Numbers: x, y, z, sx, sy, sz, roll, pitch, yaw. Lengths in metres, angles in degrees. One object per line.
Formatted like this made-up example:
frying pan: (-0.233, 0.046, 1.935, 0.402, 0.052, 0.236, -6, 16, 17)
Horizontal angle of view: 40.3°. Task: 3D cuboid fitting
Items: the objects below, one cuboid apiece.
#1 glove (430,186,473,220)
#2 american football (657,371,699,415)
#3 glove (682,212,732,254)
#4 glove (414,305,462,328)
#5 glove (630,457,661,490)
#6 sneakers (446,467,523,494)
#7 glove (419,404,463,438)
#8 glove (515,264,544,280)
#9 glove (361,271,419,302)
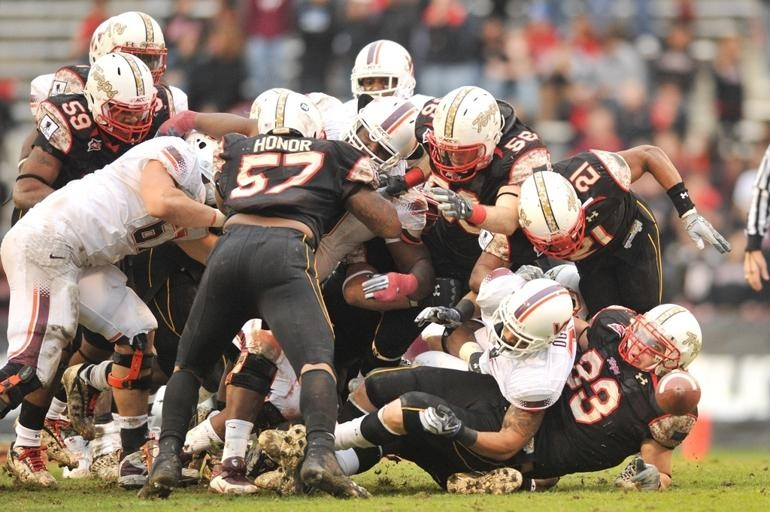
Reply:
glove: (0.589, -0.466, 9.653, 0.288, 0.265, 0.422, 2, 12, -24)
american football: (2.432, 1.137, 8.819, 0.363, 0.401, 0.358, 1, 0, 8)
glove: (3.830, -0.245, 12.555, 0.478, 0.159, 0.407, 44, 41, -6)
glove: (0.491, 0.555, 9.789, 0.317, 0.152, 0.214, 15, -1, -21)
glove: (2.223, 1.838, 8.909, 0.260, 0.263, 0.117, 9, 11, 13)
sneakers: (0.851, 1.919, 8.959, 0.415, 0.154, 0.295, -3, -12, 4)
glove: (0.473, 1.377, 8.730, 0.304, 0.225, 0.312, 18, 24, -29)
glove: (1.338, 0.152, 9.625, 0.166, 0.067, 0.161, -5, 26, -22)
glove: (0.059, 0.294, 9.700, 0.388, 0.272, 0.151, -4, -17, 1)
